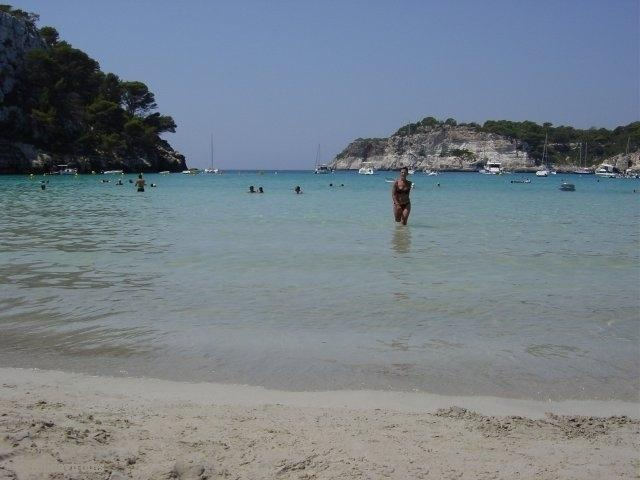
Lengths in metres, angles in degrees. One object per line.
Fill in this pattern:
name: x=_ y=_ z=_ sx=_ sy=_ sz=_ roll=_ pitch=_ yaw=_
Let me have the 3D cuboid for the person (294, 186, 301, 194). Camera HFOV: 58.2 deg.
person: x=-1.917 y=-4.315 z=50.043 sx=0.549 sy=0.518 sz=1.546 roll=11 pitch=9 yaw=-10
